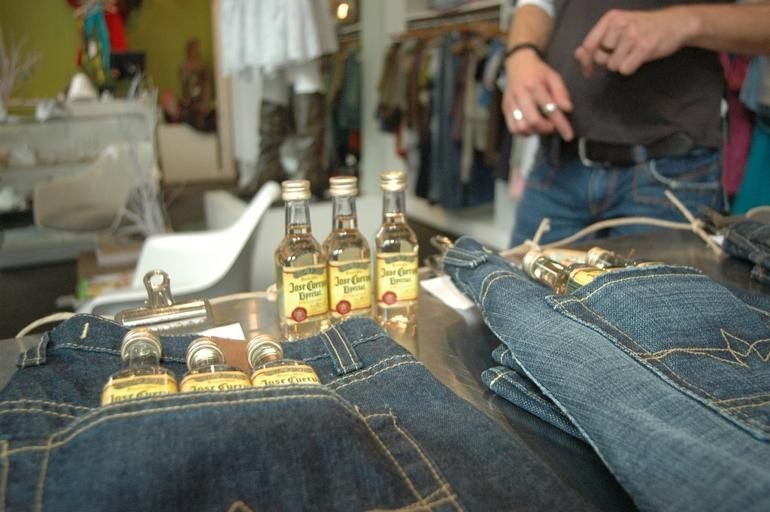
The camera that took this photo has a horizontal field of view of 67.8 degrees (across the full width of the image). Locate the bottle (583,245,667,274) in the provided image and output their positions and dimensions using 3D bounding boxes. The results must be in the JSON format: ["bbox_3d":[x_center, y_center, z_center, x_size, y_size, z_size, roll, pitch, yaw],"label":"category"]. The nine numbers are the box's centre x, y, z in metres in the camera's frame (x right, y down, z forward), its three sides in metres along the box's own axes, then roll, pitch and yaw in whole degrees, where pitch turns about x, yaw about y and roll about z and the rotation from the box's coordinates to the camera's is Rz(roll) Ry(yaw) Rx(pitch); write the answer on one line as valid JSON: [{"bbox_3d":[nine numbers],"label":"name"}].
[{"bbox_3d":[0.404,0.010,0.982,0.073,0.072,0.071,1,7,-24],"label":"bottle"}]

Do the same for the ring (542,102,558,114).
[{"bbox_3d":[0.365,-0.328,1.275,0.027,0.026,0.019,-4,10,-35],"label":"ring"}]

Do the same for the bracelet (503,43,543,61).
[{"bbox_3d":[0.328,-0.482,1.355,0.082,0.019,0.079,-1,2,7],"label":"bracelet"}]

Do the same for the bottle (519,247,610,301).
[{"bbox_3d":[0.294,0.032,0.943,0.048,0.047,0.152,15,-3,-31],"label":"bottle"}]

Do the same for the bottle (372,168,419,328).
[{"bbox_3d":[0.016,-0.015,0.986,0.078,0.267,0.114,-3,26,2],"label":"bottle"}]

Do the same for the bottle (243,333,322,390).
[{"bbox_3d":[-0.137,0.144,0.766,0.062,0.046,0.143,-2,12,-26],"label":"bottle"}]

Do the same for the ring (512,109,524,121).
[{"bbox_3d":[0.299,-0.319,1.296,0.022,0.022,0.005,0,1,40],"label":"ring"}]

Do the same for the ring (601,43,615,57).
[{"bbox_3d":[0.492,-0.457,1.270,0.022,0.023,0.022,-4,5,0],"label":"ring"}]
